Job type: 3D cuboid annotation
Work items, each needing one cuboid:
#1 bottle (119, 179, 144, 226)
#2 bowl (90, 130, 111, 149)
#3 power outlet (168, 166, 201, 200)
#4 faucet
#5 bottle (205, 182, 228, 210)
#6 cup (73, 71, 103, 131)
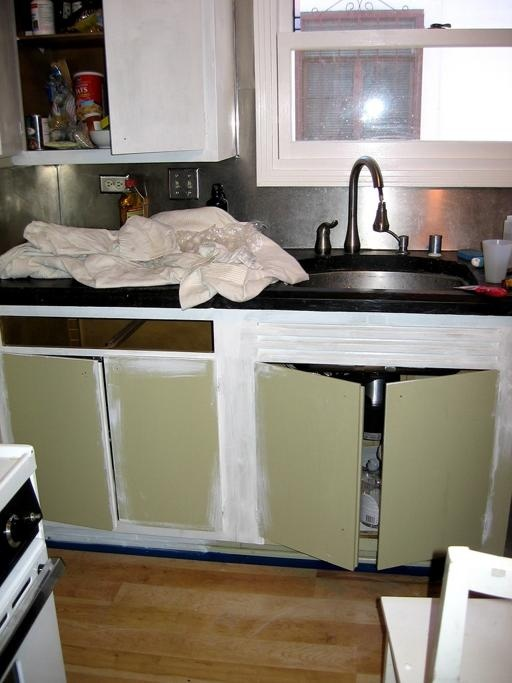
[{"bbox_3d":[-0.435,-0.486,1.862,0.102,0.166,0.176,-3,14,-8],"label":"bottle"},{"bbox_3d":[-0.490,-0.636,1.697,0.058,0.040,0.059,-1,10,0],"label":"bowl"},{"bbox_3d":[-0.248,-0.552,1.866,0.101,0.106,0.017,2,18,-1],"label":"power outlet"},{"bbox_3d":[0.352,-0.414,1.664,0.122,0.290,0.329,-1,14,0],"label":"faucet"},{"bbox_3d":[-0.133,-0.490,1.839,0.069,0.094,0.095,-2,14,-4],"label":"bottle"},{"bbox_3d":[-0.553,-0.786,1.789,0.102,0.170,0.105,-1,6,0],"label":"cup"}]
